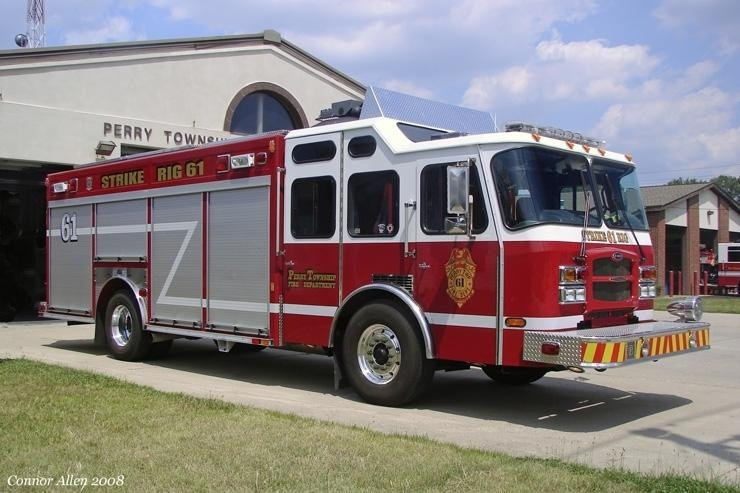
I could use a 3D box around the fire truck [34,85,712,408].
[{"bbox_3d":[-0.913,0.052,12.190,12.015,4.250,3.168,3,3,34],"label":"fire truck"}]
